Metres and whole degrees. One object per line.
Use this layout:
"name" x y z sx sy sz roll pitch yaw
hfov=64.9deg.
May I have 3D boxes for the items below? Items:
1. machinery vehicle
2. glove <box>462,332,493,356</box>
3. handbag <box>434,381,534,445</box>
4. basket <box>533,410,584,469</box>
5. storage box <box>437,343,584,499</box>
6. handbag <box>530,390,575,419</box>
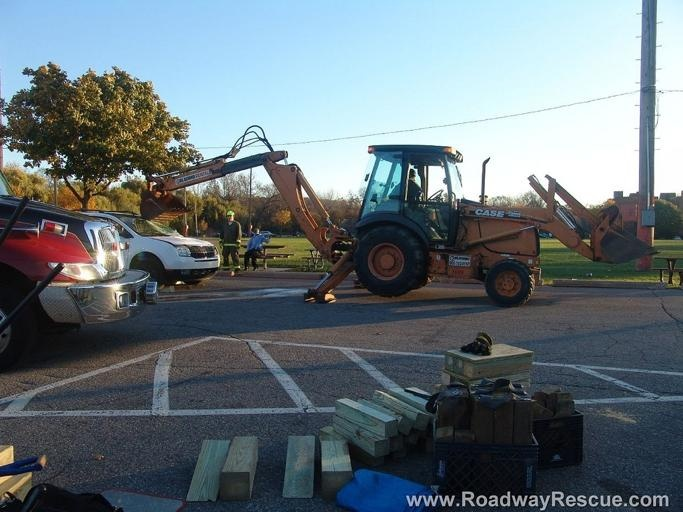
"machinery vehicle" 0.455 -0.632 15.053 14.503 5.220 4.840 0 4 11
"glove" 1.365 0.858 5.282 0.198 0.119 0.240 3 3 34
"handbag" 1.084 1.198 4.120 0.495 0.316 0.509 0 -2 3
"basket" 1.789 1.508 4.389 0.437 0.282 0.437 -2 0 13
"storage box" 1.181 1.328 4.541 0.838 0.520 1.380 0 -1 0
"handbag" 1.746 1.228 4.441 0.286 0.096 0.272 -2 1 6
